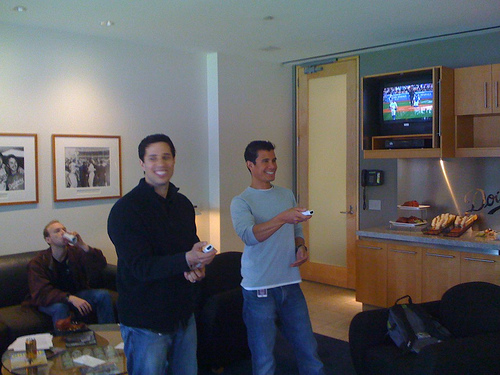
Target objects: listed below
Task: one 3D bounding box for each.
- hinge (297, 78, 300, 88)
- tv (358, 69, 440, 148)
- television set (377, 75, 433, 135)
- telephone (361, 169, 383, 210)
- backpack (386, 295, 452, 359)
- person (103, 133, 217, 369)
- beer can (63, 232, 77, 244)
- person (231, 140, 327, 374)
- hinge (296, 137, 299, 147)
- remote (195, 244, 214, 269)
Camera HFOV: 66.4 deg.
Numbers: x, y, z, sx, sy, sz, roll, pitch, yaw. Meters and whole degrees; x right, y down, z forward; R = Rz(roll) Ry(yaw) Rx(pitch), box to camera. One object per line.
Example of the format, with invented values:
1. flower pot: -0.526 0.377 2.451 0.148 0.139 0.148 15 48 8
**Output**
1. hinge: 0.769 -1.689 6.156 0.030 0.132 0.009 -2 3 21
2. tv: 1.811 -0.933 4.572 0.980 0.937 0.506 -1 2 39
3. television set: 1.869 -0.986 4.545 0.695 0.653 0.384 3 8 42
4. telephone: 1.723 0.037 5.399 0.305 0.578 0.084 -1 4 38
5. backpack: 1.158 0.985 2.652 0.315 0.162 0.435 -15 24 -1
6. person: -0.487 0.386 2.035 0.499 1.354 0.524 -4 3 -20
7. beer can: -1.815 0.511 3.821 0.121 0.116 0.098 -4 3 -25
8. person: 0.161 0.463 2.548 0.545 1.577 0.536 -3 3 -3
9. hinge: 0.767 -0.735 6.210 0.046 0.160 0.014 0 4 41
10. remote: -0.224 0.345 1.897 0.031 0.113 0.086 34 3 23
